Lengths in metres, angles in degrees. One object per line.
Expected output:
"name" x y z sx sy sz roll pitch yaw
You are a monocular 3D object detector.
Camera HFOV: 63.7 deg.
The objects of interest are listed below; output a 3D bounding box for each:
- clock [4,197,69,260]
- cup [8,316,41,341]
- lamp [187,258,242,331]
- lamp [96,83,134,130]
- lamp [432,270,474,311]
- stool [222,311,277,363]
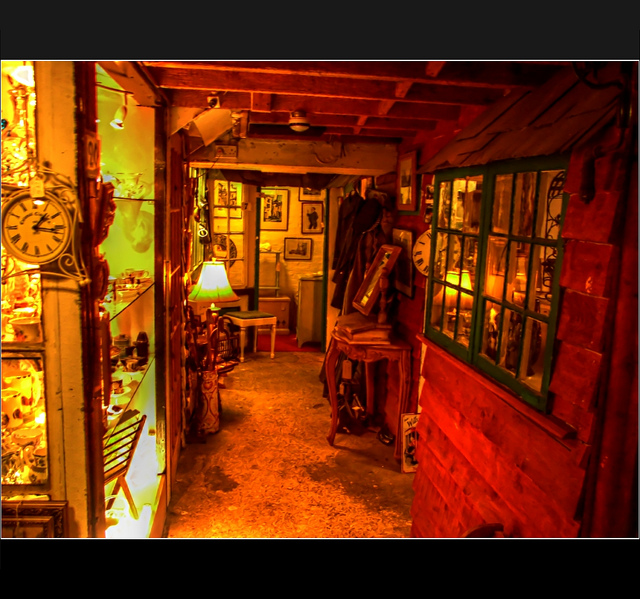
"clock" -0.778 -0.205 1.476 0.174 0.167 0.170 0 11 -17
"cup" -0.857 0.085 1.499 0.076 0.054 0.073 1 5 0
"lamp" -0.912 -0.120 4.641 0.438 0.636 0.397 0 -2 4
"lamp" -1.173 -1.096 3.053 0.240 0.240 0.199 12 12 43
"lamp" 0.684 -0.033 2.628 0.165 0.218 0.248 -5 14 -14
"stool" -0.986 0.503 7.008 0.771 0.584 0.774 -1 1 -7
